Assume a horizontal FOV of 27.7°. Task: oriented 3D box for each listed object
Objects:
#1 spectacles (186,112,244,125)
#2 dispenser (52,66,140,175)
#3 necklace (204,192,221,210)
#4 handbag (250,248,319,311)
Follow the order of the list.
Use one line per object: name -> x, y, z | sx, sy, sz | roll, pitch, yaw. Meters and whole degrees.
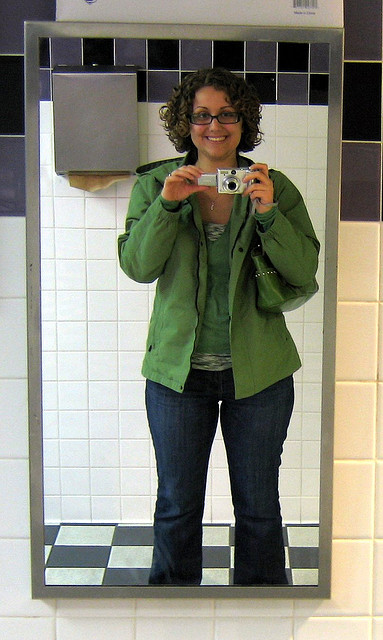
spectacles -> 0.047, -0.403, 1.581 | 0.113, 0.027, 0.022 | 2, 11, -2
dispenser -> -0.206, -0.423, 1.676 | 0.186, 0.228, 0.062 | 1, 11, -7
necklace -> 0.046, -0.238, 1.600 | 0.040, 0.045, 0.005 | 2, -10, 0
handbag -> 0.194, -0.086, 1.634 | 0.152, 0.135, 0.077 | -17, 9, -28
